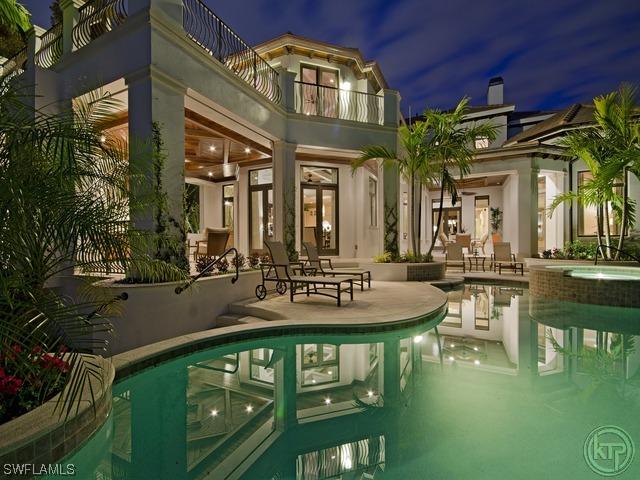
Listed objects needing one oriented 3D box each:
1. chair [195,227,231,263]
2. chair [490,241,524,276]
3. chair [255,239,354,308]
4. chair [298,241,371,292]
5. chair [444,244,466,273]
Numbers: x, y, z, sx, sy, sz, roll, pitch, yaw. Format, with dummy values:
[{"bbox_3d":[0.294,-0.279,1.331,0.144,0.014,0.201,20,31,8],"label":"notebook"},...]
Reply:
[{"bbox_3d":[-2.690,0.147,11.261,0.626,0.965,0.796,-2,4,-40],"label":"chair"},{"bbox_3d":[5.664,0.576,14.008,0.632,0.952,1.275,0,5,9],"label":"chair"},{"bbox_3d":[-0.325,0.599,9.022,1.831,1.320,0.811,-1,2,26],"label":"chair"},{"bbox_3d":[0.368,0.624,11.017,1.608,1.234,1.000,-1,0,26],"label":"chair"},{"bbox_3d":[4.651,0.551,15.754,0.549,1.077,1.171,2,14,15],"label":"chair"}]
